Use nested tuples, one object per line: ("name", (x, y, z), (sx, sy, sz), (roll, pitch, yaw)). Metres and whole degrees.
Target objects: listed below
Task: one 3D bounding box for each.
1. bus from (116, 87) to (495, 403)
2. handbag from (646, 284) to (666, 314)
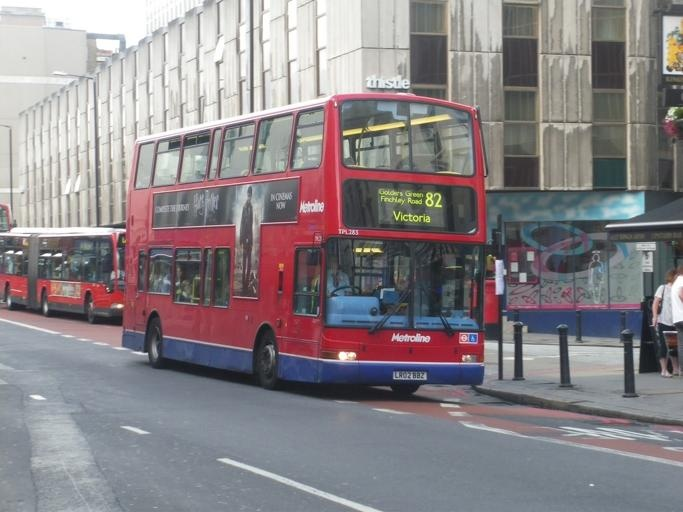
("bus", (-1.686, -0.151, 19.790), (3.878, 5.855, 10.539), (3, -2, -34))
("handbag", (6.828, 0.937, 18.798), (0.291, 0.614, 0.476), (5, -2, 44))
